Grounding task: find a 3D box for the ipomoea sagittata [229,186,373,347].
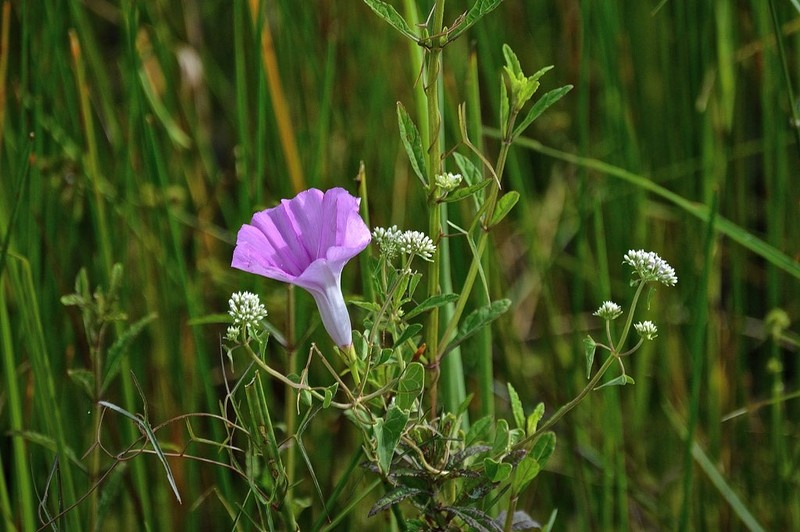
[{"bbox_3d":[-0.134,0.028,1.489,0.198,0.250,0.187,-17,-10,-38],"label":"ipomoea sagittata"}]
